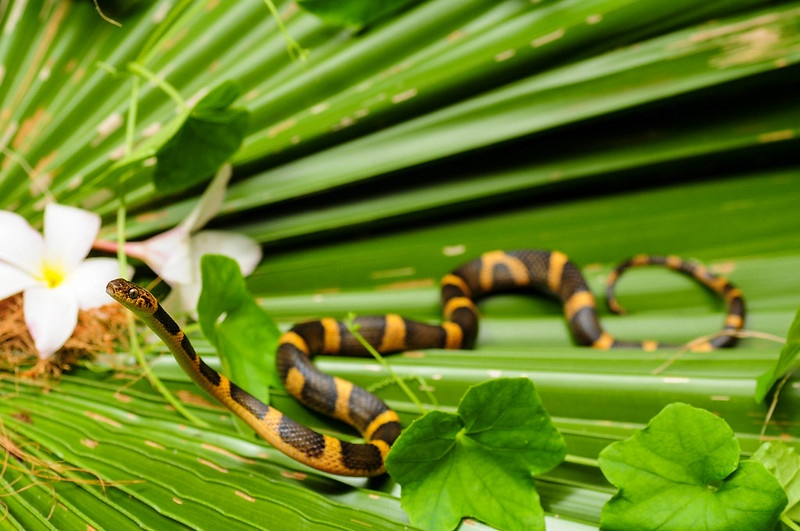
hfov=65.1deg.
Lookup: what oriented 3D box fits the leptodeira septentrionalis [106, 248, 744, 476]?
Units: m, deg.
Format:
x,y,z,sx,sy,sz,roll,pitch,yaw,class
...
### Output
x,y,z,sx,sy,sz,roll,pitch,yaw,class
0.092,0.248,1.789,1.595,0.594,0.510,-1,-2,-5,leptodeira septentrionalis
